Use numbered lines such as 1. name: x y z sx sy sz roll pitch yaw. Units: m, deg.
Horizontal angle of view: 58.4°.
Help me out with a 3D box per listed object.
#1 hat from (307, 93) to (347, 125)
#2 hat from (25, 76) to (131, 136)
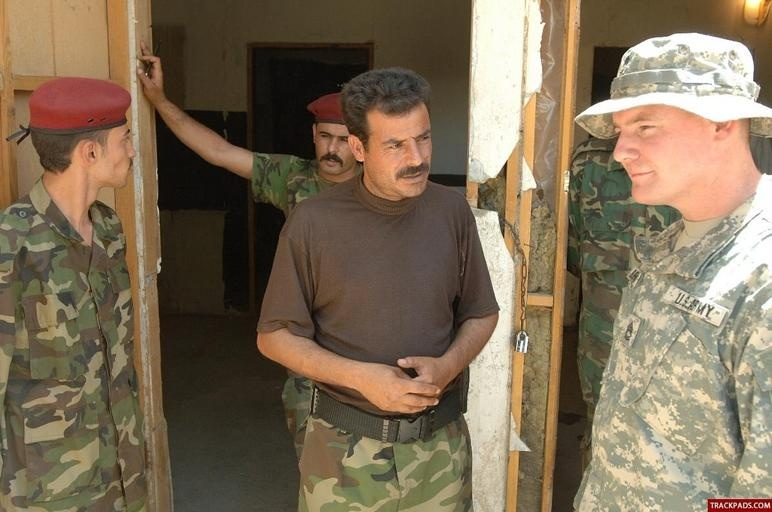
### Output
1. hat: -0.366 -0.862 4.150 0.301 0.128 0.336 -1 18 -5
2. hat: -1.346 -0.674 3.076 0.277 0.126 0.354 19 30 30
